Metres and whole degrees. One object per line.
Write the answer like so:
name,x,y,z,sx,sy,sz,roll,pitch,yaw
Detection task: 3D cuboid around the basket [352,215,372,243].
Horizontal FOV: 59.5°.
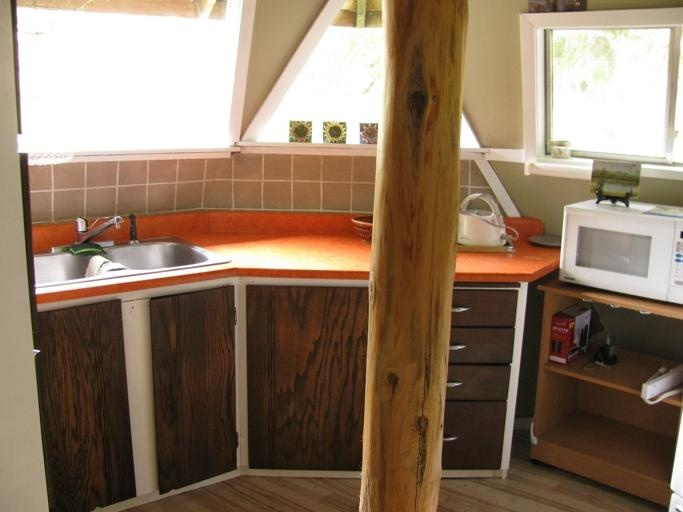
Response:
basket,0.131,-0.153,3.267,0.133,0.059,0.140,2,25,5

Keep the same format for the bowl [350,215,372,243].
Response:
bowl,0.137,-0.154,3.274,0.135,0.057,0.140,0,24,0

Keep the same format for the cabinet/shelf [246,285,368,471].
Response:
cabinet/shelf,-0.204,0.573,3.101,0.681,0.993,0.559,1,6,-5

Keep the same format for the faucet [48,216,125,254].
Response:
faucet,-1.238,-0.093,3.000,0.315,0.197,0.232,-2,1,-3

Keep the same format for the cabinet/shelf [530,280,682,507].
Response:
cabinet/shelf,1.349,0.707,3.014,0.822,0.894,0.425,12,16,35

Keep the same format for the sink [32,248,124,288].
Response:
sink,-1.233,0.071,2.795,0.335,0.136,0.363,-6,13,-27

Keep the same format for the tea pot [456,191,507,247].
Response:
tea pot,0.755,-0.181,3.194,0.220,0.285,0.295,-5,11,-39
